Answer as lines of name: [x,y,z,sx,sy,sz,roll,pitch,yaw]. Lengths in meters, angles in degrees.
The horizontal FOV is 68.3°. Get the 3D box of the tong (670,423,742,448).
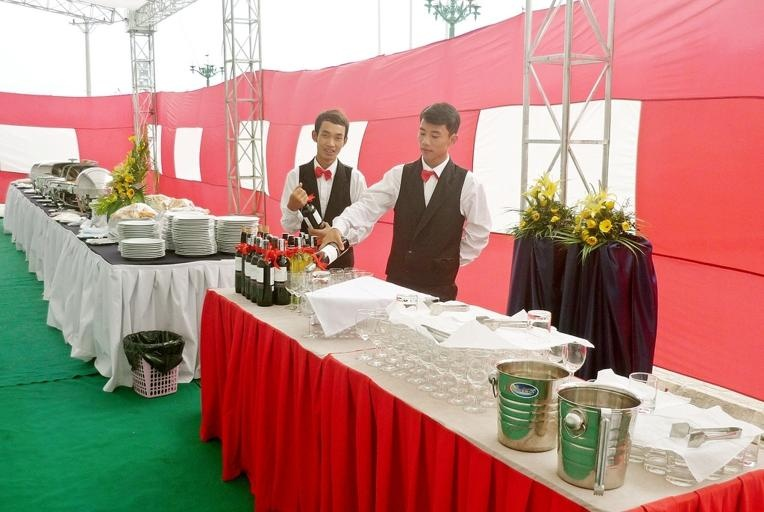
tong: [1.184,0.647,2.055,0.190,0.063,0.110,0,-5,-3]

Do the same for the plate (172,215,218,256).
plate: [-1.594,-0.174,4.845,0.321,0.282,0.335,1,2,12]

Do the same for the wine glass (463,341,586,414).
wine glass: [0.555,0.462,2.183,0.275,0.139,0.358,0,-2,2]

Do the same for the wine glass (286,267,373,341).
wine glass: [-0.345,0.277,3.123,0.359,0.392,0.161,1,-12,-3]

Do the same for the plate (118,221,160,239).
plate: [-2.124,-0.228,4.909,0.211,0.097,0.222,2,1,5]

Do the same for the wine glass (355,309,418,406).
wine glass: [0.003,0.418,2.643,0.263,0.217,0.292,2,1,-3]

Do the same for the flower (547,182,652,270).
flower: [1.540,-0.165,4.037,0.445,0.575,0.536,8,-16,-37]

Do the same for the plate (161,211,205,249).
plate: [-1.900,-0.276,5.239,0.368,0.406,0.380,10,11,42]

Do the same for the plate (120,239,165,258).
plate: [-1.948,-0.094,4.616,0.204,0.095,0.215,3,3,6]

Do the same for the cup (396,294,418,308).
cup: [0.120,0.215,2.720,0.062,0.051,0.066,2,2,0]

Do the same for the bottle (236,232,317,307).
bottle: [-0.676,0.050,3.452,0.446,0.365,0.470,1,11,0]

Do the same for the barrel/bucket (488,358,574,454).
barrel/bucket: [0.583,0.596,2.220,0.313,0.282,0.335,5,-2,0]

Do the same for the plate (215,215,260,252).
plate: [-1.230,-0.225,4.863,0.385,0.309,0.398,6,8,43]

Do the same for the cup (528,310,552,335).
cup: [0.690,0.284,2.480,0.103,0.081,0.107,1,9,0]

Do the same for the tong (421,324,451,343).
tong: [0.241,0.329,2.519,0.149,0.057,0.047,25,24,33]

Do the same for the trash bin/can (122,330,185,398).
trash bin/can: [-1.849,0.875,4.597,0.434,0.471,0.448,1,11,-23]

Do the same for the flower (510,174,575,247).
flower: [1.267,-0.369,4.447,0.461,0.516,0.487,5,8,23]

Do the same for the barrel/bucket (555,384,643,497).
barrel/bucket: [0.767,0.644,2.003,0.281,0.312,0.343,2,9,19]
